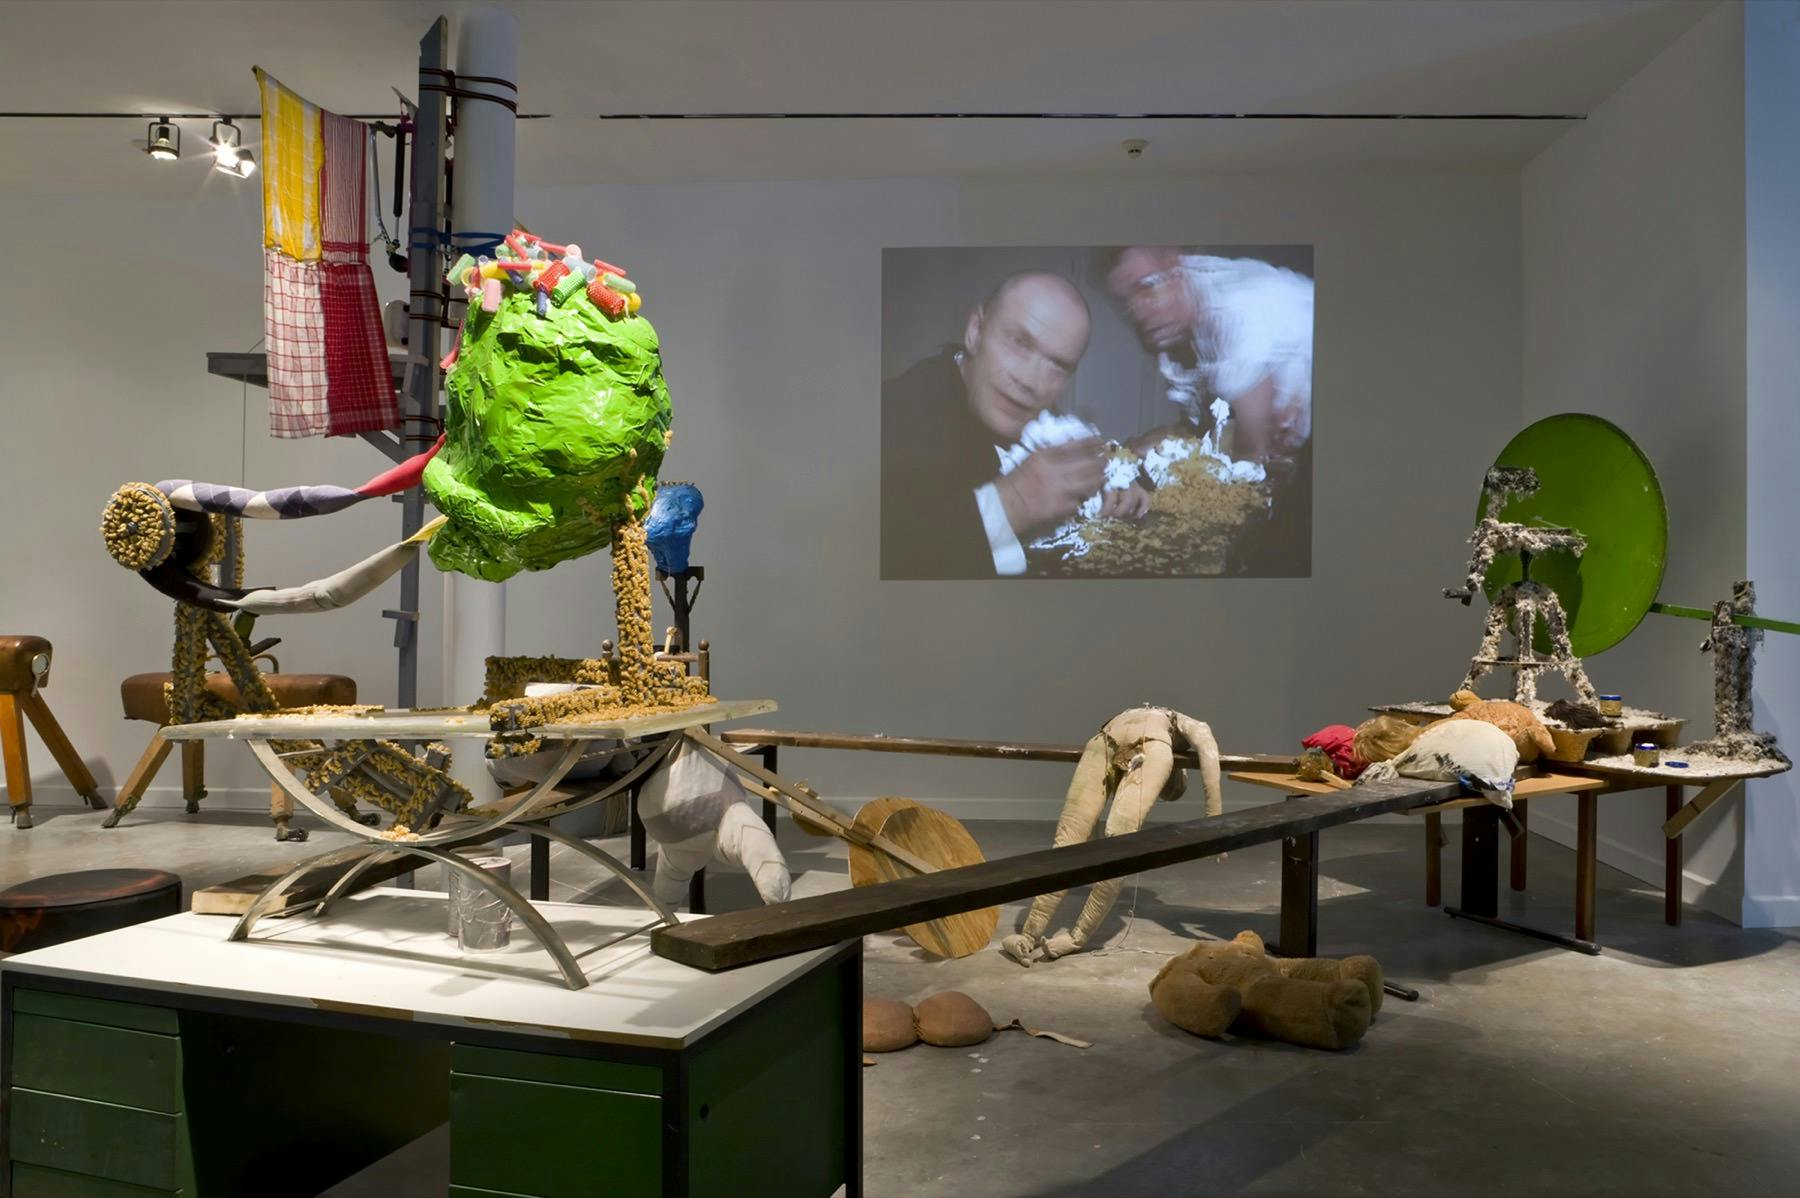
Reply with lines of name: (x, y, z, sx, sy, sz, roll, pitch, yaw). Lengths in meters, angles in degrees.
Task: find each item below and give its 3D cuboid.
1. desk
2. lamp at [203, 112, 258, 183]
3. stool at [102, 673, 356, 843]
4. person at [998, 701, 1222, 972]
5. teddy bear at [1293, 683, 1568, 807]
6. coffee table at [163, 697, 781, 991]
desk: (3.240, 0.910, 7.655, 1.098, 1.284, 1.975, -2, 3, -35)
lamp: (-4.032, -2.721, 9.737, 0.229, 0.397, 0.385, 2, 1, -13)
stool: (-3.335, 0.816, 8.062, 0.992, 0.765, 0.757, -1, -4, 8)
person: (0.934, 1.056, 7.337, 0.868, 1.128, 1.199, -4, 3, -40)
teddy bear: (2.405, 0.615, 7.049, 0.714, 0.240, 0.548, -10, -4, -10)
coffee table: (-1.420, 0.795, 5.706, 1.698, 0.885, 0.895, -1, 3, 9)
